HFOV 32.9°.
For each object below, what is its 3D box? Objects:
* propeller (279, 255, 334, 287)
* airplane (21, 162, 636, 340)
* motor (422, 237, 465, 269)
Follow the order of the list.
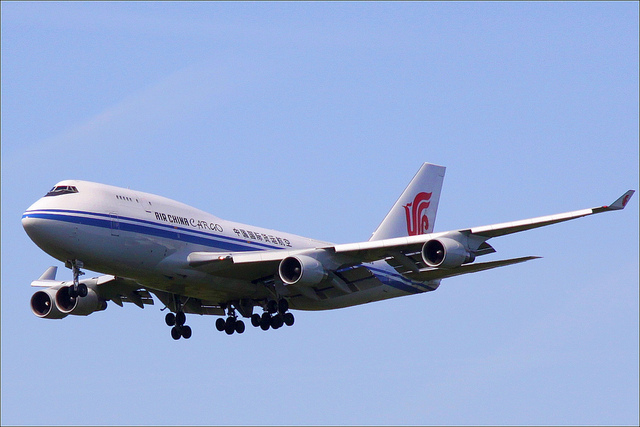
[{"bbox_3d":[-0.519,2.104,38.981,1.908,1.019,0.992,16,-61,-13],"label":"propeller"},{"bbox_3d":[-0.422,1.771,40.942,22.105,5.642,8.136,-2,-57,-2],"label":"airplane"},{"bbox_3d":[4.337,1.389,38.271,1.118,1.443,0.935,9,-88,36],"label":"motor"}]
